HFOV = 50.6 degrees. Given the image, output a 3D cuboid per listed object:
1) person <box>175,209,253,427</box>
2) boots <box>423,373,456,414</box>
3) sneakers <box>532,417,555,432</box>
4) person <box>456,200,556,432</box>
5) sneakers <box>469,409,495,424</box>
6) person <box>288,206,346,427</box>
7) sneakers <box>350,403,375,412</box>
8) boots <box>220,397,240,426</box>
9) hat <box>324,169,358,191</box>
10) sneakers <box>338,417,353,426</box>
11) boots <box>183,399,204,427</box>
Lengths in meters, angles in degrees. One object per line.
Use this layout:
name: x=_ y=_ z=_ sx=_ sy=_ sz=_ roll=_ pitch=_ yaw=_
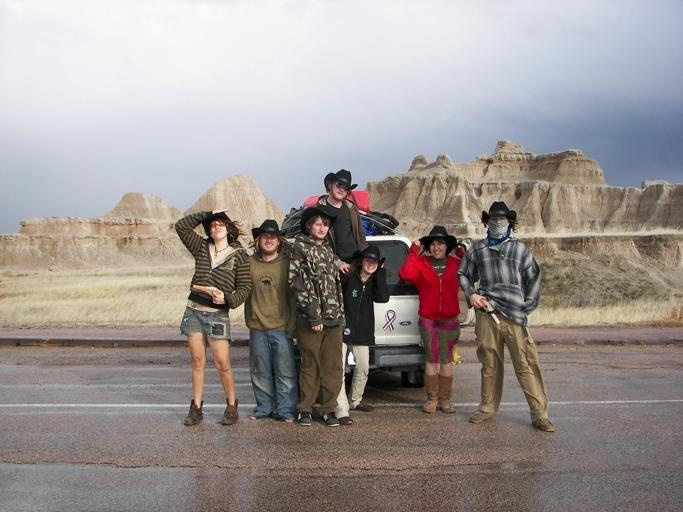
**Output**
person: x=-1.698 y=0.811 z=9.560 sx=0.944 sy=2.774 sz=0.923 roll=0 pitch=3 yaw=-14
boots: x=1.346 y=1.986 z=10.341 sx=0.472 sy=0.572 sz=0.483 roll=1 pitch=-9 yaw=-3
sneakers: x=2.613 y=2.200 z=9.436 sx=0.113 sy=0.133 sz=0.325 roll=0 pitch=-6 yaw=-6
person: x=2.149 y=0.770 z=9.639 sx=1.164 sy=2.929 sz=0.687 roll=1 pitch=3 yaw=10
sneakers: x=1.894 y=2.159 z=9.724 sx=0.373 sy=0.151 sz=0.130 roll=0 pitch=-4 yaw=-34
person: x=-0.345 y=0.799 z=9.566 sx=0.750 sy=2.857 sz=0.563 roll=0 pitch=3 yaw=-12
sneakers: x=0.278 y=2.131 z=10.225 sx=0.325 sy=0.136 sz=0.122 roll=-1 pitch=1 yaw=3
boots: x=-1.500 y=2.093 z=9.665 sx=0.207 sy=0.385 sz=0.585 roll=-2 pitch=-13 yaw=8
hat: x=-0.047 y=-1.059 z=10.157 sx=0.389 sy=0.258 sz=0.865 roll=0 pitch=3 yaw=-1
sneakers: x=0.054 y=2.179 z=9.557 sx=0.077 sy=0.088 sz=0.215 roll=4 pitch=-14 yaw=-18
boots: x=-1.991 y=2.110 z=9.665 sx=0.200 sy=0.399 sz=0.576 roll=-2 pitch=-12 yaw=8
